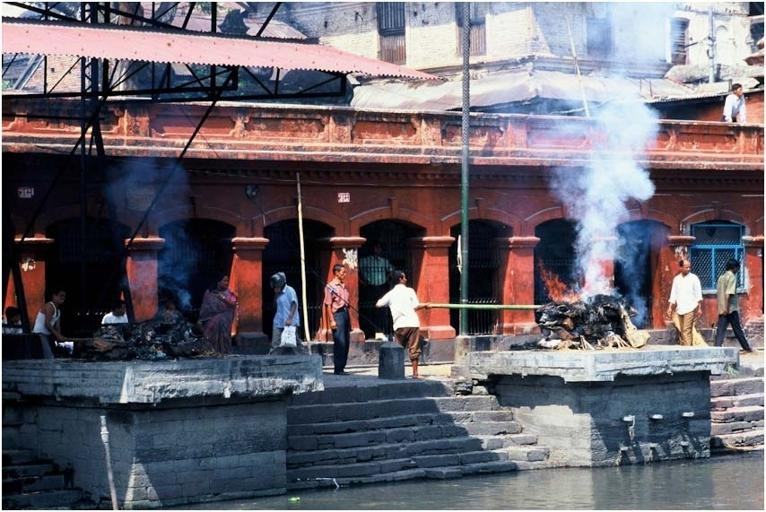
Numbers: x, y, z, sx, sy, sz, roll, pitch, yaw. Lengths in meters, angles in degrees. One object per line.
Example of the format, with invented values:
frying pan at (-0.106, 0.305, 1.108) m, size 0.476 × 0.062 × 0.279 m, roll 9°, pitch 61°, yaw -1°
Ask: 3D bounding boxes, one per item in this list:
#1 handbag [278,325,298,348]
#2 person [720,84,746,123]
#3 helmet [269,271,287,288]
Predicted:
handbag at (-1.982, 1.657, 30.234) m, size 0.463 × 0.538 × 0.276 m, roll 1°, pitch 6°, yaw -16°
person at (9.389, -4.123, 38.920) m, size 0.581 × 1.380 × 1.199 m, roll -5°, pitch -10°, yaw 14°
helmet at (-2.174, 0.497, 30.467) m, size 0.283 × 0.331 × 0.372 m, roll 15°, pitch -19°, yaw -38°
